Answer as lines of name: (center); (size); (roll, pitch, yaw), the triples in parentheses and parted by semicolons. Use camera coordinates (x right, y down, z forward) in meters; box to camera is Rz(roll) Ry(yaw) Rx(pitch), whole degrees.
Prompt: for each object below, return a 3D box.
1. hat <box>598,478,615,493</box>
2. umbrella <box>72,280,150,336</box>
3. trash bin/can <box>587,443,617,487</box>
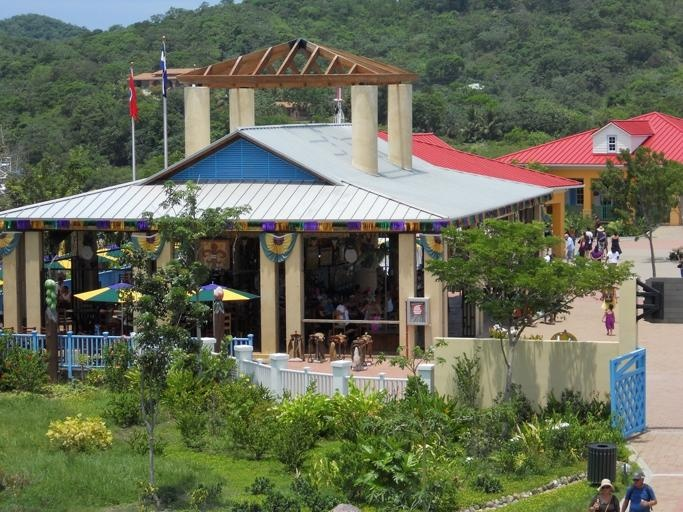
hat: (9.004, 7.824, 54.110); (0.439, 0.258, 0.628); (-1, -19, 4)
umbrella: (-9.776, 2.362, 63.964); (2.385, 1.887, 2.453); (-4, 7, -36)
trash bin/can: (9.129, 7.384, 55.897); (1.088, 1.530, 1.215); (-1, 0, 11)
